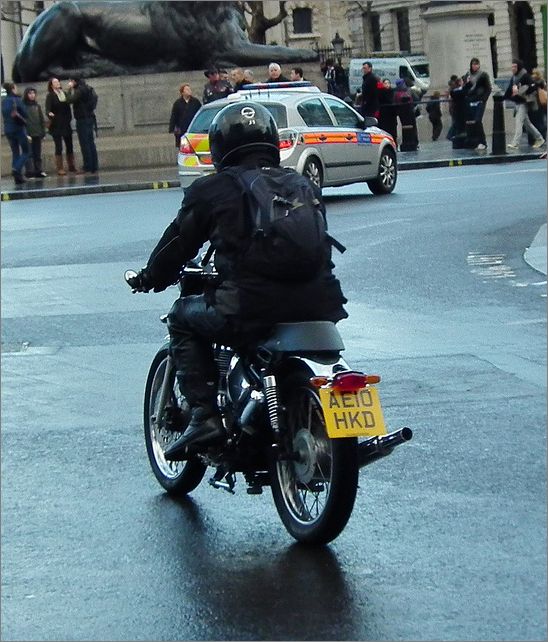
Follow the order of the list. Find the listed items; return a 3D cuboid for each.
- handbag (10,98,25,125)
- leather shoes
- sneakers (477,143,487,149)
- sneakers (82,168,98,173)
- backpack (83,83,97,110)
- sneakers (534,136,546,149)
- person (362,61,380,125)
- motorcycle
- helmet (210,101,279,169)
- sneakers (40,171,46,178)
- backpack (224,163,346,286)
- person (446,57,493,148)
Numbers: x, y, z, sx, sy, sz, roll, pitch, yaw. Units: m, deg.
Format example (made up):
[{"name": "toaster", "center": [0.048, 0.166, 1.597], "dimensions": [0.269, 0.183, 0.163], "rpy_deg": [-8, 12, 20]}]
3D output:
[{"name": "handbag", "center": [-6.498, -5.301, 23.435], "dimensions": [0.223, 0.588, 0.648], "rpy_deg": [-8, -9, 13]}, {"name": "leather shoes", "center": [-0.273, 0.439, 3.622], "dimensions": [0.116, 0.151, 0.337], "rpy_deg": [-1, -25, -36]}, {"name": "sneakers", "center": [5.936, -4.995, 26.353], "dimensions": [0.263, 0.184, 0.615], "rpy_deg": [-1, 8, 13]}, {"name": "sneakers", "center": [-5.177, -4.211, 25.991], "dimensions": [0.498, 0.156, 0.211], "rpy_deg": [2, 7, 27]}, {"name": "backpack", "center": [-4.748, -5.803, 24.050], "dimensions": [0.244, 0.731, 0.599], "rpy_deg": [-5, 8, -9]}, {"name": "sneakers", "center": [7.205, -4.848, 25.127], "dimensions": [0.212, 0.242, 0.640], "rpy_deg": [11, 24, 39]}, {"name": "person", "center": [2.795, -6.352, 26.457], "dimensions": [0.665, 2.097, 0.714], "rpy_deg": [1, 27, 7]}, {"name": "motorcycle", "center": [-0.069, 0.267, 3.732], "dimensions": [0.709, 0.966, 1.831], "rpy_deg": [-3, 3, -26]}, {"name": "helmet", "center": [-0.105, -0.734, 3.558], "dimensions": [0.251, 0.268, 0.298], "rpy_deg": [-11, 10, -1]}, {"name": "sneakers", "center": [-6.502, -4.138, 26.108], "dimensions": [0.169, 0.182, 0.307], "rpy_deg": [-2, 11, -16]}, {"name": "backpack", "center": [0.018, -0.338, 3.367], "dimensions": [0.380, 0.428, 0.476], "rpy_deg": [-8, -1, -14]}, {"name": "person", "center": [5.605, -6.162, 26.400], "dimensions": [1.100, 2.512, 0.979], "rpy_deg": [2, 10, 32]}]
